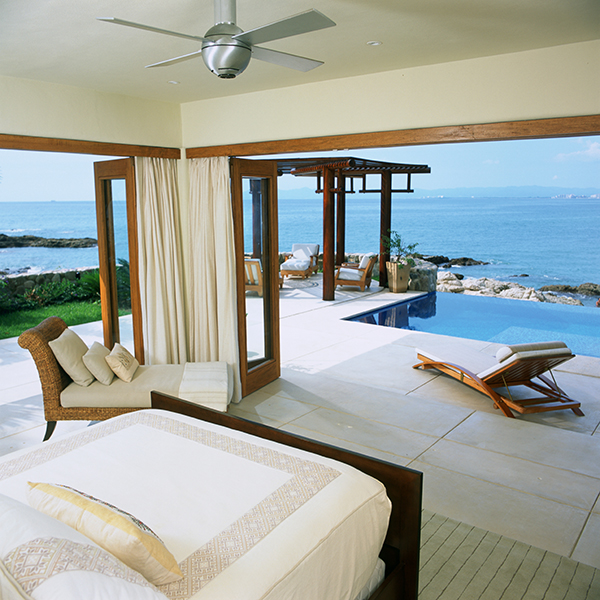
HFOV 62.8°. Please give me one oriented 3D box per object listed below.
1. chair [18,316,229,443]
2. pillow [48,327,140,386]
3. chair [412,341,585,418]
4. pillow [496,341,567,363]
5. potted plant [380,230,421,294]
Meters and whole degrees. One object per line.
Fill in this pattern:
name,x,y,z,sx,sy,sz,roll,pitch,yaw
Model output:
chair,-1.377,0.648,4.597,2.022,0.887,0.969,-1,14,-6
pillow,-1.872,0.545,4.507,0.602,0.256,0.651,0,11,-9
chair,2.216,0.741,5.501,0.788,0.479,1.401,-2,12,-25
pillow,2.412,0.543,5.078,0.547,0.120,0.080,-7,42,-2
potted plant,2.533,-0.960,12.378,0.748,1.453,1.042,0,12,10
